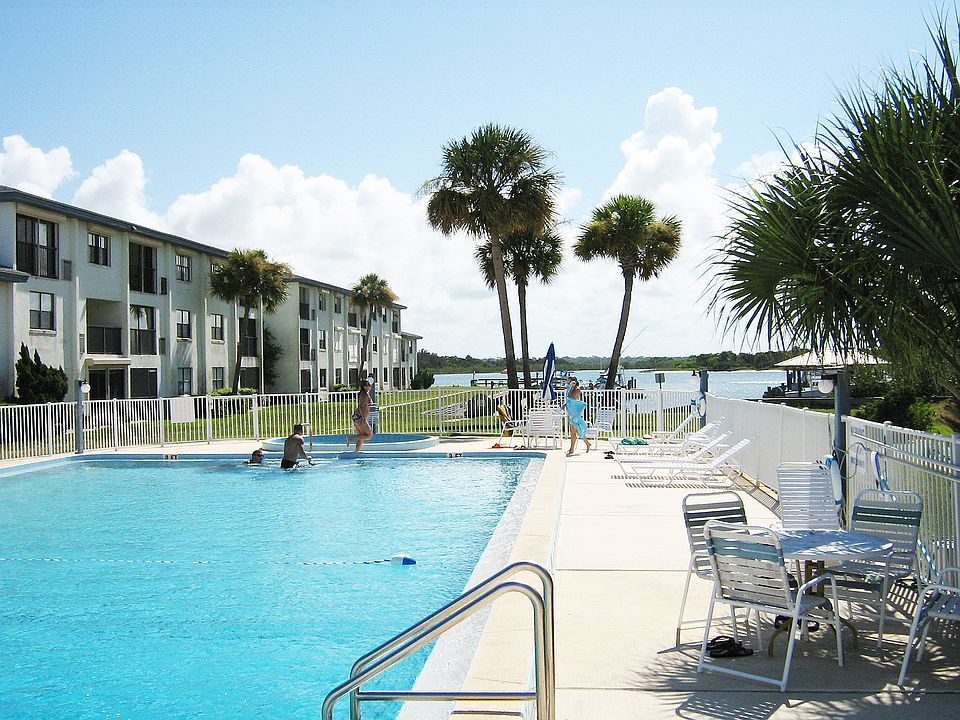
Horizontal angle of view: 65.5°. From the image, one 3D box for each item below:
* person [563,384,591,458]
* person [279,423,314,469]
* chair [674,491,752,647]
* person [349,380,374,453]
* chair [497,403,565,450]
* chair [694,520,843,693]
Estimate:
[{"bbox_3d":[2.505,1.493,19.121,0.752,1.689,0.807,0,9,11],"label":"person"},{"bbox_3d":[-4.751,2.251,19.550,0.744,1.433,0.817,9,5,17],"label":"person"},{"bbox_3d":[2.442,2.136,7.356,0.850,1.505,0.805,10,-12,0],"label":"chair"},{"bbox_3d":[-3.353,1.670,21.361,0.468,1.574,1.737,-1,2,-4],"label":"person"},{"bbox_3d":[1.385,1.795,20.462,1.623,1.193,1.083,-5,-4,37],"label":"chair"},{"bbox_3d":[2.623,2.101,6.742,1.135,1.481,1.159,-3,-2,-14],"label":"chair"}]
